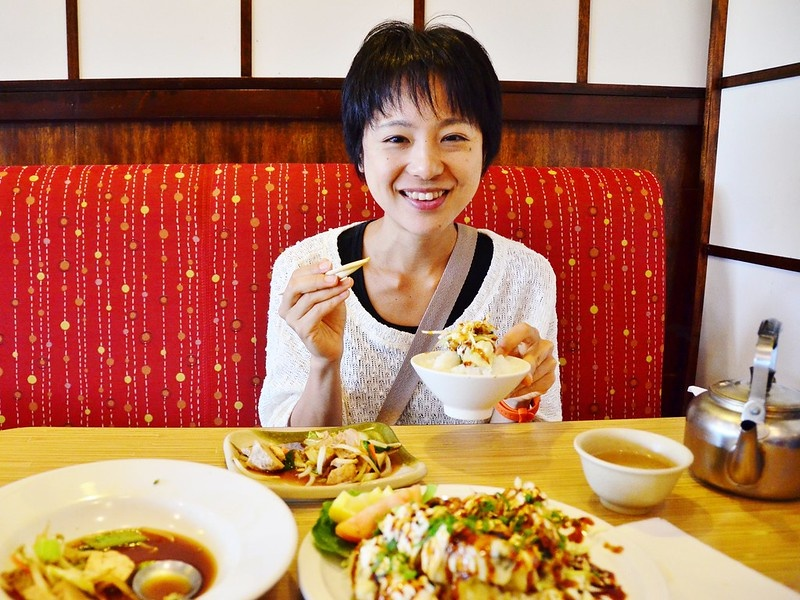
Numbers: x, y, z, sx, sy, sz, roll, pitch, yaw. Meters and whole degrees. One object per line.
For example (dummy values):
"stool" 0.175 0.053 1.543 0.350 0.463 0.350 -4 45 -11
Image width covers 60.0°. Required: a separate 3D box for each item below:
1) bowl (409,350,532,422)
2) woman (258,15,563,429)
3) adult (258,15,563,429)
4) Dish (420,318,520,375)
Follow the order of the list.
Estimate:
"bowl" 0.176 0.223 1.741 0.290 0.176 0.217 3 6 8
"woman" 0.035 -0.209 2.162 1.001 1.291 0.590 2 6 0
"adult" 0.033 -0.209 2.165 1.004 1.291 0.600 2 6 2
"Dish" 0.155 0.127 1.731 0.156 0.094 0.164 1 2 -12
